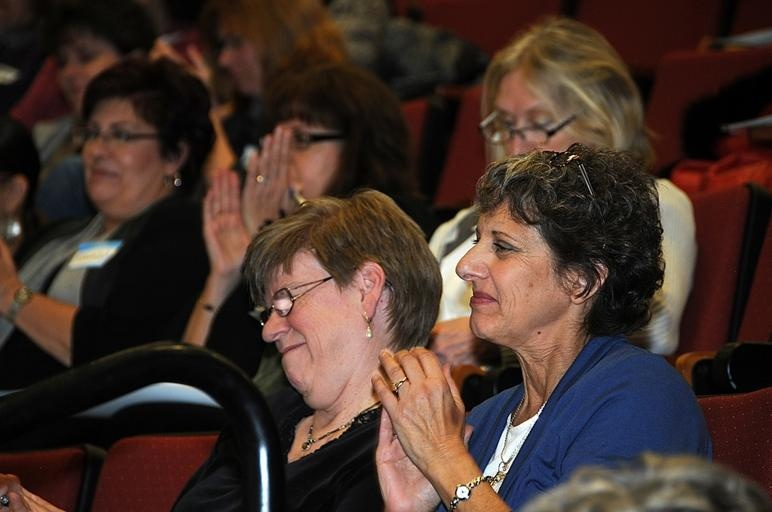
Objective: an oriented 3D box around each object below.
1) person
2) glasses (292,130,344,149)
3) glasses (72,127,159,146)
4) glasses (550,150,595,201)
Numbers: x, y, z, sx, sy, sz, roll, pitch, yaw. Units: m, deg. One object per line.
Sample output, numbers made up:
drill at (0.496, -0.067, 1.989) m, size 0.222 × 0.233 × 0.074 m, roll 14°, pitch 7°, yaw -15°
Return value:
person at (0.113, 0.178, 1.584) m, size 0.875 × 0.927 × 0.681 m, roll 10°, pitch -11°, yaw -35°
glasses at (-0.235, -0.394, 2.478) m, size 0.103 × 0.036 × 0.076 m, roll 2°, pitch 2°, yaw 4°
glasses at (-0.799, -0.361, 2.224) m, size 0.122 × 0.035 × 0.114 m, roll 2°, pitch -3°, yaw -37°
glasses at (0.429, -0.173, 1.693) m, size 0.033 × 0.107 × 0.104 m, roll -35°, pitch 29°, yaw -25°
